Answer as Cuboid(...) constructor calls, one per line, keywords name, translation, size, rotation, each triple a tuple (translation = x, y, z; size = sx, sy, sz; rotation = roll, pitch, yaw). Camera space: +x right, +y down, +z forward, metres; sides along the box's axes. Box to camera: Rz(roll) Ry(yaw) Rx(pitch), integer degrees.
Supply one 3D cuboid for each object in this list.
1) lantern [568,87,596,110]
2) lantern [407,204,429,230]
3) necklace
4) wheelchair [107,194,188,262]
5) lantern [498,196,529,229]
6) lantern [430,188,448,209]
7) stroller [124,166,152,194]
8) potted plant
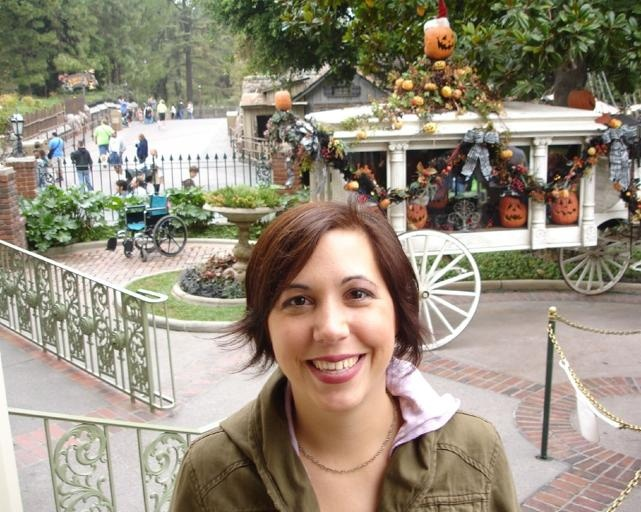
Cuboid(name="lantern", translation=(3.864, -2.339, 9.541), size=(0.363, 0.285, 0.503), rotation=(-11, 3, 26))
Cuboid(name="lantern", translation=(1.239, -0.516, 8.116), size=(0.272, 0.296, 0.265), rotation=(6, 22, 7))
Cuboid(name="necklace", translation=(0.118, 0.546, 2.290), size=(0.385, 0.236, 0.452), rotation=(6, 14, 1))
Cuboid(name="wheelchair", translation=(-3.586, -0.588, 13.327), size=(1.121, 1.203, 1.541), rotation=(10, 18, 33))
Cuboid(name="lantern", translation=(2.513, -0.578, 8.573), size=(0.395, 0.533, 0.391), rotation=(-1, -3, -12))
Cuboid(name="lantern", translation=(1.520, -0.742, 8.206), size=(0.220, 0.282, 0.228), rotation=(7, -1, -8))
Cuboid(name="stroller", translation=(-5.210, -2.291, 18.424), size=(0.736, 0.776, 2.226), rotation=(-13, 3, -13))
Cuboid(name="potted plant", translation=(-1.309, -0.449, 11.104), size=(1.275, 1.452, 1.304), rotation=(4, 11, 31))
